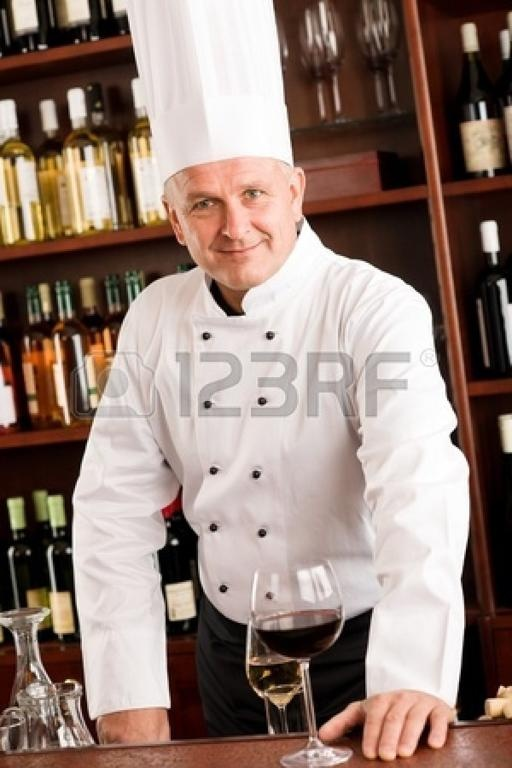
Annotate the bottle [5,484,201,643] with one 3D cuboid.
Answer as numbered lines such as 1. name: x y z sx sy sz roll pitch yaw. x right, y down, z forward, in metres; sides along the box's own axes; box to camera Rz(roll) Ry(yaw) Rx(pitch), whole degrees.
1. bottle: -0.393 0.415 1.767 0.411 0.369 0.398 -1 -7 -19
